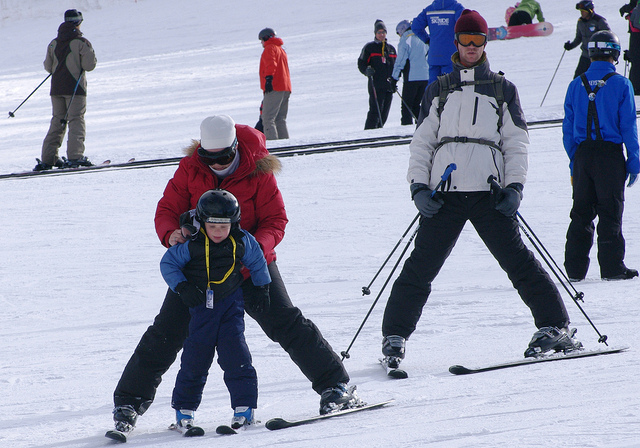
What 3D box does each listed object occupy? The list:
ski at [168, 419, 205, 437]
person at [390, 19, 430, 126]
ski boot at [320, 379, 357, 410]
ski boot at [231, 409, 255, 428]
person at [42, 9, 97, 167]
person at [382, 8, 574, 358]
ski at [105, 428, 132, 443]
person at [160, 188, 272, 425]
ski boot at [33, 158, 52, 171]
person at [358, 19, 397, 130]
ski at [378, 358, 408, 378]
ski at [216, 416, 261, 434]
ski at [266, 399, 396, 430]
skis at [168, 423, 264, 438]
[{"bbox_3d":[-1.220,1.805,10.329,0.356,0.139,0.114,4,12,31],"label":"ski"},{"bbox_3d":[1.430,-2.385,18.480,0.599,1.648,0.527,20,37,33],"label":"person"},{"bbox_3d":[0.164,1.535,10.416,0.370,0.217,0.186,-6,-24,-25],"label":"ski boot"},{"bbox_3d":[-0.695,1.741,10.352,0.184,0.085,0.239,2,4,15],"label":"ski boot"},{"bbox_3d":[-3.636,-1.921,16.456,0.760,2.342,0.612,-11,38,-17],"label":"person"},{"bbox_3d":[1.428,-0.359,11.010,1.738,3.277,0.667,-1,11,3],"label":"person"},{"bbox_3d":[-1.804,1.872,10.274,0.207,0.078,0.082,13,6,2],"label":"ski"},{"bbox_3d":[-0.964,0.765,10.467,1.122,2.065,0.732,-3,-1,-18],"label":"person"},{"bbox_3d":[-3.978,-0.844,16.463,0.200,0.173,0.084,-10,34,2],"label":"ski boot"},{"bbox_3d":[1.016,-2.340,18.773,0.804,1.894,0.612,-16,23,-36],"label":"person"},{"bbox_3d":[0.672,1.368,10.994,0.143,0.124,0.372,-8,11,-32],"label":"ski"},{"bbox_3d":[-0.729,1.778,10.341,0.414,0.129,0.128,-8,11,-33],"label":"ski"},{"bbox_3d":[0.068,1.717,10.380,1.128,0.161,0.047,-3,11,-13],"label":"ski"},{"bbox_3d":[-0.936,1.824,10.332,0.850,0.097,0.189,-2,9,-1],"label":"skis"}]
